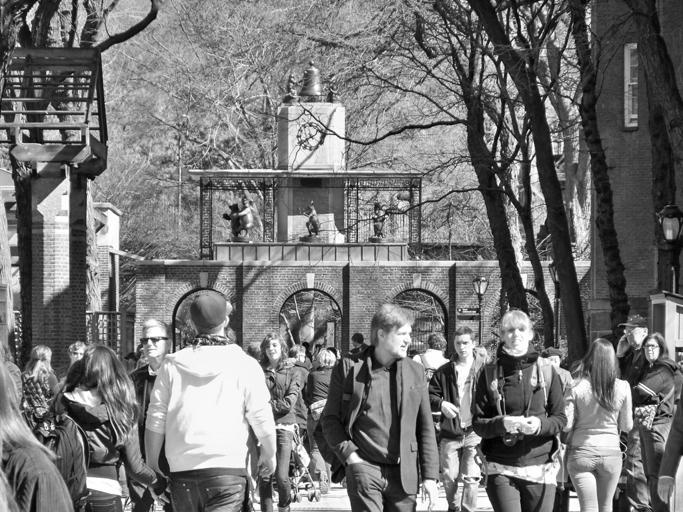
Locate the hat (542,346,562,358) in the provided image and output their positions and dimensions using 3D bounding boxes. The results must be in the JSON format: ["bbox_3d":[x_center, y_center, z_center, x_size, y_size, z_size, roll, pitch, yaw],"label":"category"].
[{"bbox_3d":[3.965,1.826,33.926,0.347,0.194,0.419,1,2,12],"label":"hat"}]

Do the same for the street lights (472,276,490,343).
[{"bbox_3d":[3.804,1.591,49.294,0.482,2.120,0.467,-4,-7,38],"label":"street lights"}]

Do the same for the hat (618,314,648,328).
[{"bbox_3d":[5.525,1.248,34.231,0.441,0.217,0.301,2,-7,-25],"label":"hat"}]

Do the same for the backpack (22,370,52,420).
[{"bbox_3d":[-5.125,2.368,30.186,0.567,0.853,0.466,1,-12,-9],"label":"backpack"}]

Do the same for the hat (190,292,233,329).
[{"bbox_3d":[-2.051,0.870,27.907,0.576,0.510,0.910,-5,35,-4],"label":"hat"}]

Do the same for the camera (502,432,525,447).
[{"bbox_3d":[2.699,2.913,28.278,0.257,0.205,0.095,-20,4,5],"label":"camera"}]
